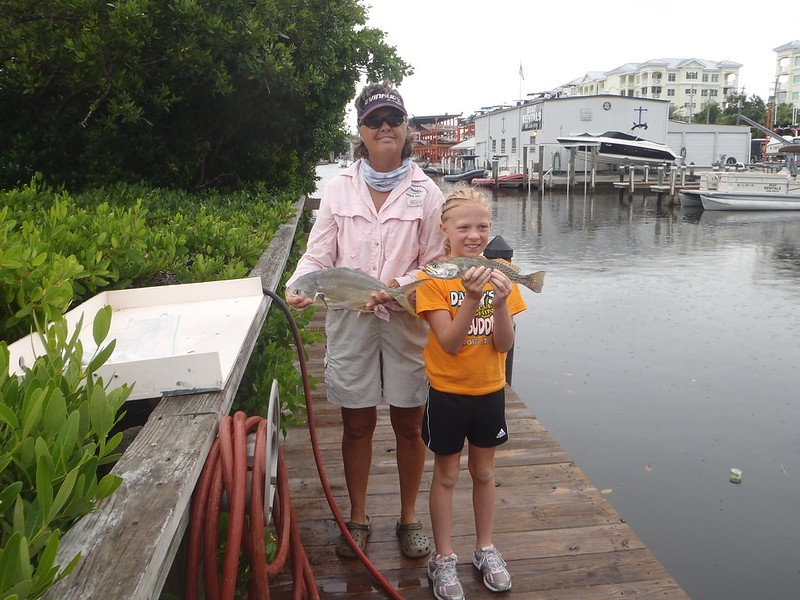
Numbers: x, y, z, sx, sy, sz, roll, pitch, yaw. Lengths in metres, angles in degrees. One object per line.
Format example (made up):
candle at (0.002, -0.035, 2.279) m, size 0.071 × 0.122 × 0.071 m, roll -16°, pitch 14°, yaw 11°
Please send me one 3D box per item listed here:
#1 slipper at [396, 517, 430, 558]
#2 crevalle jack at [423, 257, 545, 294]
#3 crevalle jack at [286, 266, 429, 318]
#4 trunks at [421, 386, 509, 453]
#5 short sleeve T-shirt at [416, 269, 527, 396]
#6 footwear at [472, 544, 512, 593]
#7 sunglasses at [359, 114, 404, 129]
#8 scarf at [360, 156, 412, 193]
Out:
slipper at (0.071, 1.409, 3.303) m, size 0.170 × 0.139 × 0.348 m, roll 1°, pitch 9°, yaw -11°
crevalle jack at (0.419, -0.119, 2.706) m, size 0.600 × 0.213 × 0.300 m, roll -11°, pitch 18°, yaw -36°
crevalle jack at (-0.205, -0.044, 2.904) m, size 0.575 × 0.249 × 0.134 m, roll 7°, pitch 22°, yaw 1°
trunks at (0.413, 0.587, 3.022) m, size 0.354 × 0.320 × 0.219 m, roll 9°, pitch 20°, yaw 19°
short sleeve T-shirt at (0.405, 0.136, 2.968) m, size 0.563 × 0.731 × 0.370 m, roll -6°, pitch 23°, yaw 2°
footwear at (0.497, 1.464, 3.022) m, size 0.119 × 0.130 × 0.274 m, roll -4°, pitch -1°, yaw -14°
sunglasses at (-0.094, -0.981, 3.036) m, size 0.233 × 0.083 × 0.068 m, roll -5°, pitch 15°, yaw -16°
scarf at (-0.082, -0.710, 3.136) m, size 0.294 × 0.174 × 0.174 m, roll -1°, pitch 15°, yaw -3°
